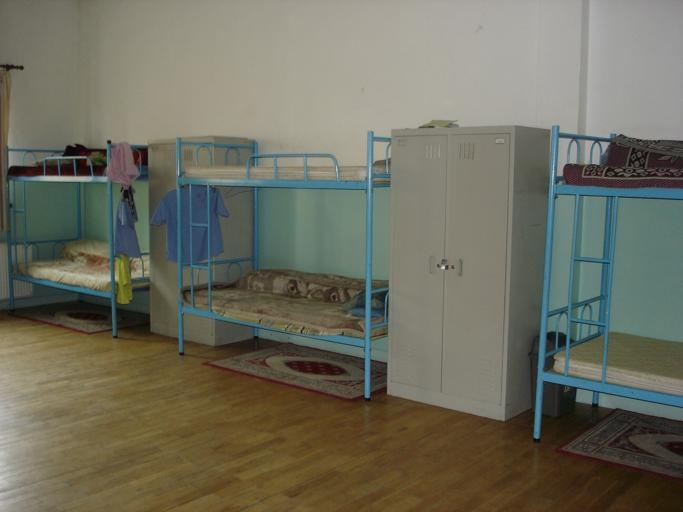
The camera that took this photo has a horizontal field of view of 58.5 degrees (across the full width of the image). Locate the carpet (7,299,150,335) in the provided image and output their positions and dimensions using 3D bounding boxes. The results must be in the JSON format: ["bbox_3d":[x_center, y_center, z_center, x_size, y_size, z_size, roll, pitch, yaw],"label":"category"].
[{"bbox_3d":[-3.538,0.837,8.478,2.189,0.104,1.190,7,13,34],"label":"carpet"}]

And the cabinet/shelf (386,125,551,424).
[{"bbox_3d":[1.041,0.117,5.319,1.339,2.452,0.646,3,12,17],"label":"cabinet/shelf"}]

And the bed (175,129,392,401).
[{"bbox_3d":[-0.458,0.000,6.673,2.898,2.322,1.343,5,6,43],"label":"bed"}]

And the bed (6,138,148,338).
[{"bbox_3d":[-3.645,-0.228,8.387,2.850,2.362,1.296,4,7,35],"label":"bed"}]

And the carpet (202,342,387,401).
[{"bbox_3d":[-0.369,1.160,6.426,1.805,0.069,1.136,7,13,33],"label":"carpet"}]
